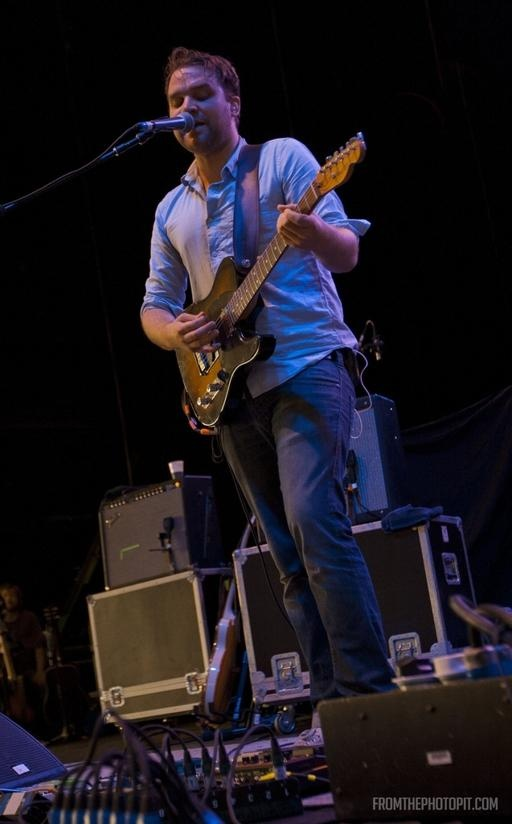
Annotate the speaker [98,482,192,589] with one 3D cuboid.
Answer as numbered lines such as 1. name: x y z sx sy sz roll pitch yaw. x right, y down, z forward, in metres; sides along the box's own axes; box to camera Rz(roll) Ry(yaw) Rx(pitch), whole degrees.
1. speaker: -0.534 0.625 3.858 0.458 0.472 0.261 -18 -15 36

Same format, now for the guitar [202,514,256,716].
1. guitar: -0.083 0.894 3.027 0.053 0.621 0.219 5 1 -26
